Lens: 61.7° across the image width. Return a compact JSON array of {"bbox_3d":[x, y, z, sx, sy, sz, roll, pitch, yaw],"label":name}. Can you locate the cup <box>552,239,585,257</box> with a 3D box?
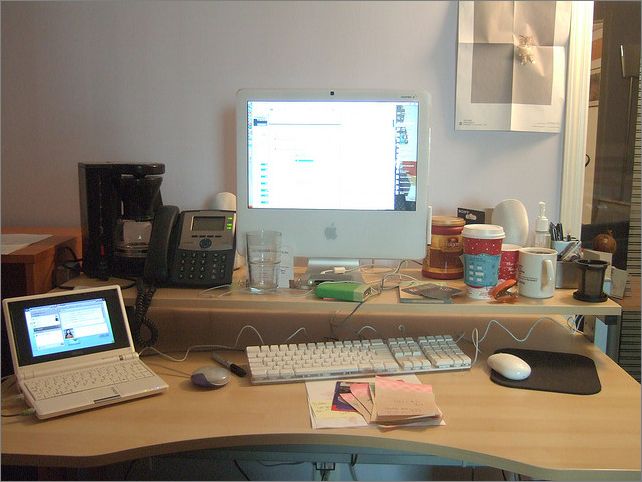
[{"bbox_3d":[0.773,0.016,1.691,0.060,0.040,0.063,-1,8,0],"label":"cup"}]

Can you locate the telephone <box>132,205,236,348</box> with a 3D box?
[{"bbox_3d":[-0.416,0.073,1.610,0.269,0.441,0.139,1,-31,-1],"label":"telephone"}]

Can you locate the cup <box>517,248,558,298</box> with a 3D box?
[{"bbox_3d":[0.644,0.099,1.587,0.091,0.136,0.151,0,11,2],"label":"cup"}]

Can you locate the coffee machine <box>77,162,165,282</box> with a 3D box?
[{"bbox_3d":[-0.642,-0.078,1.771,0.252,0.338,0.203,1,8,-1],"label":"coffee machine"}]

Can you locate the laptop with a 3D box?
[{"bbox_3d":[-0.652,0.280,1.430,0.336,0.250,0.340,-5,16,-40],"label":"laptop"}]

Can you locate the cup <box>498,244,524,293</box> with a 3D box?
[{"bbox_3d":[0.581,0.067,1.665,0.080,0.123,0.080,7,-14,2],"label":"cup"}]

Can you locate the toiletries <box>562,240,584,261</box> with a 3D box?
[{"bbox_3d":[0.781,0.032,1.674,0.017,0.061,0.063,28,-4,3],"label":"toiletries"}]

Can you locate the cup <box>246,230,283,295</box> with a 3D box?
[{"bbox_3d":[-0.178,0.063,1.662,0.113,0.181,0.113,1,7,0],"label":"cup"}]

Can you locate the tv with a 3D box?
[{"bbox_3d":[0.029,-0.176,1.663,0.584,0.545,0.211,0,4,2],"label":"tv"}]

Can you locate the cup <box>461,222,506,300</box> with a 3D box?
[{"bbox_3d":[0.485,0.057,1.618,0.128,0.198,0.132,1,4,0],"label":"cup"}]

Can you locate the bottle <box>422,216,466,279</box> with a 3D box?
[{"bbox_3d":[0.410,0.024,1.789,0.164,0.193,0.172,-2,7,-9],"label":"bottle"}]
